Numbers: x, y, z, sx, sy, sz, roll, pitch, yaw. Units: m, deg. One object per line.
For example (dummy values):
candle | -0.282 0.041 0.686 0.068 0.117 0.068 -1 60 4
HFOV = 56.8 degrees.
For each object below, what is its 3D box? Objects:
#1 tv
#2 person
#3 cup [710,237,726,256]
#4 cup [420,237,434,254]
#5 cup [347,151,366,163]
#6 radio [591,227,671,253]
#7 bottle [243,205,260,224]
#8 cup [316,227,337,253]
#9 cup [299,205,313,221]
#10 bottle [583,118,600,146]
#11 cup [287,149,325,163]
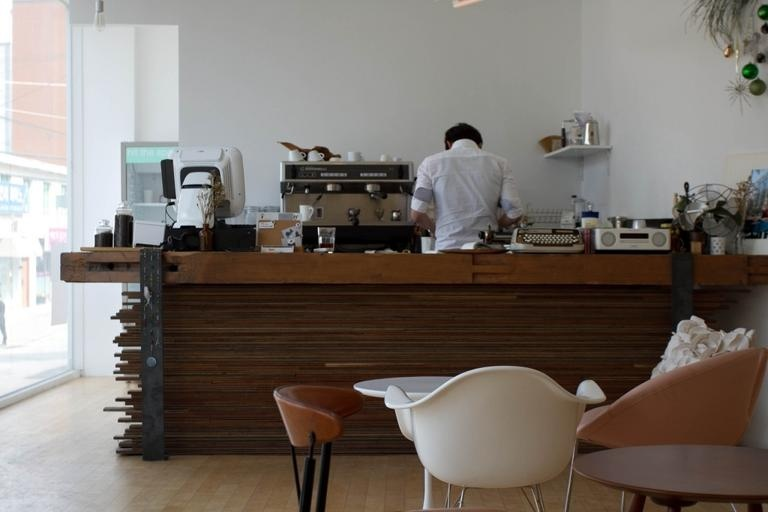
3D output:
tv | -1.290 -0.388 5.147 0.567 0.778 0.367 2 6 -12
person | 0.631 -0.488 5.645 0.744 1.038 0.695 5 6 3
cup | 2.227 -0.066 4.747 0.113 0.131 0.109 1 1 0
cup | 0.327 -0.085 5.286 0.085 0.102 0.241 0 7 3
cup | -0.266 -0.930 6.683 0.139 0.104 0.109 1 0 3
radio | 1.612 -0.106 4.628 0.494 0.155 0.054 0 7 1
bottle | -1.256 -0.385 6.759 0.167 0.169 0.534 -2 7 -11
cup | -0.389 -0.118 4.792 0.111 0.160 0.317 -1 7 -6
cup | -0.720 -0.401 6.644 0.118 0.143 0.139 -3 8 -23
bottle | 1.912 -1.142 6.563 0.133 0.238 0.142 0 7 0
cup | -0.728 -0.924 6.640 0.266 0.127 0.145 2 -4 -10
